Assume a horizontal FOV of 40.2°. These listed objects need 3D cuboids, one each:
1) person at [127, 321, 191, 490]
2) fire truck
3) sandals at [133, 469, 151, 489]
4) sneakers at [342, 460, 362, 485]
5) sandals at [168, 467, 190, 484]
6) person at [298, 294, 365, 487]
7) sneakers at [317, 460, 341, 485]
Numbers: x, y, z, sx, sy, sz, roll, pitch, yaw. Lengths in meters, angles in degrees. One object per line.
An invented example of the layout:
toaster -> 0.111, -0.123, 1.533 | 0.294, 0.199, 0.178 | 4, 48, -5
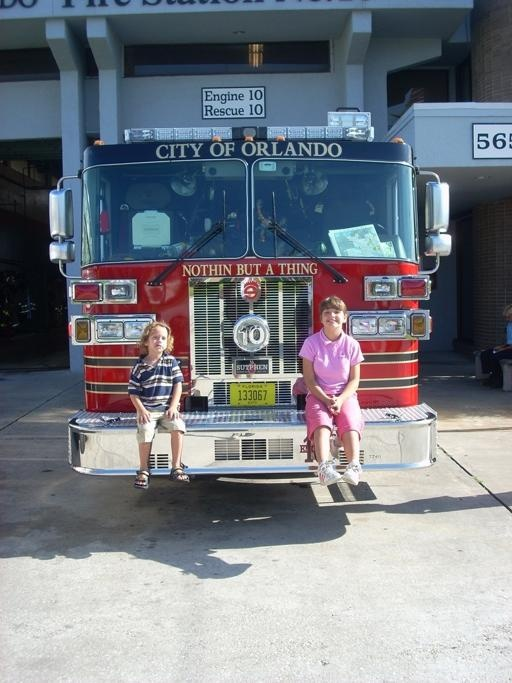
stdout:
person -> -0.618, 0.369, 4.336 | 0.346, 0.990, 0.441 | -1, 2, -11
fire truck -> 0.058, -0.486, 5.746 | 2.031, 1.737, 3.184 | 0, 5, 1
sandals -> -0.702, 0.836, 4.269 | 0.064, 0.073, 0.178 | 1, -8, -3
sneakers -> 0.546, 0.740, 3.958 | 0.084, 0.100, 0.240 | 0, -12, 12
sandals -> -0.464, 0.813, 4.253 | 0.107, 0.123, 0.193 | 0, 3, 5
person -> 0.458, 0.246, 4.277 | 0.390, 1.057, 0.867 | 0, 2, 6
sneakers -> 0.422, 0.739, 4.002 | 0.128, 0.120, 0.425 | 0, 3, 5
